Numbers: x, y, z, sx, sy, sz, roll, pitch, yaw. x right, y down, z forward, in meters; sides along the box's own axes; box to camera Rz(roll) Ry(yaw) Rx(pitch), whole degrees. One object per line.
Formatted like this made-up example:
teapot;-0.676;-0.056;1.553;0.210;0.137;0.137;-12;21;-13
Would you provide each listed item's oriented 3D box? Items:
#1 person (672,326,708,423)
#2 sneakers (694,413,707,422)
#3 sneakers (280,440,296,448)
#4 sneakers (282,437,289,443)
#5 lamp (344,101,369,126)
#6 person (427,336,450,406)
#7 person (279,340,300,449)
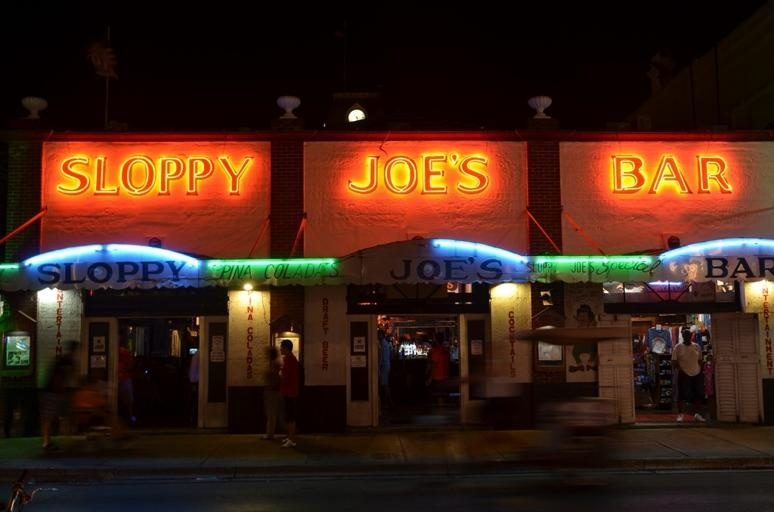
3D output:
person;8.965;3.558;26.987;0.960;2.798;1.194;2;11;16
sneakers;9.215;4.778;26.742;0.341;0.223;0.260;25;-17;-37
sneakers;-2.605;5.074;24.514;0.474;0.264;0.157;-2;-16;7
sneakers;-2.736;5.031;24.758;0.264;0.212;0.140;-1;-10;5
lamp;-1.168;-5.668;35.858;0.872;0.742;1.368;-2;9;-3
person;1.629;3.469;27.581;0.619;2.126;1.146;-1;11;3
person;-2.598;3.727;24.499;0.485;2.917;0.835;-3;11;-6
